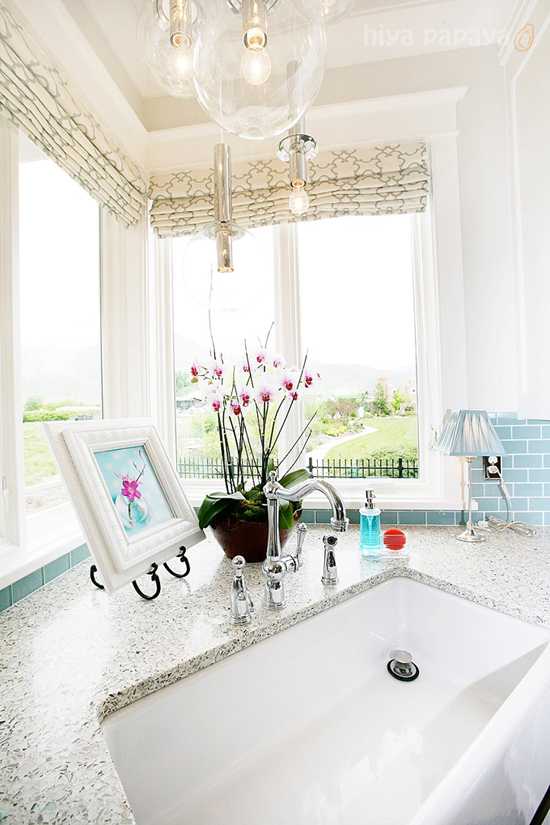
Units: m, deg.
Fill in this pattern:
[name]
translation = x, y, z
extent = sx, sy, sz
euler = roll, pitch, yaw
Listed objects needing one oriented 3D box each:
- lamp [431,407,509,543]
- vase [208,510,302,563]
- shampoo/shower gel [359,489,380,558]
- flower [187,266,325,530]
[lamp]
translation = 0.574, 0.176, 1.624
extent = 0.181, 0.385, 0.292
euler = 2, 7, 22
[vase]
translation = -0.048, 0.299, 1.324
extent = 0.146, 0.086, 0.153
euler = 1, -12, -2
[shampoo/shower gel]
translation = 0.255, 0.281, 1.457
extent = 0.049, 0.166, 0.125
euler = 1, 7, 9
[flower]
translation = -0.055, 0.069, 1.501
extent = 0.329, 0.592, 0.369
euler = -1, 3, -4
